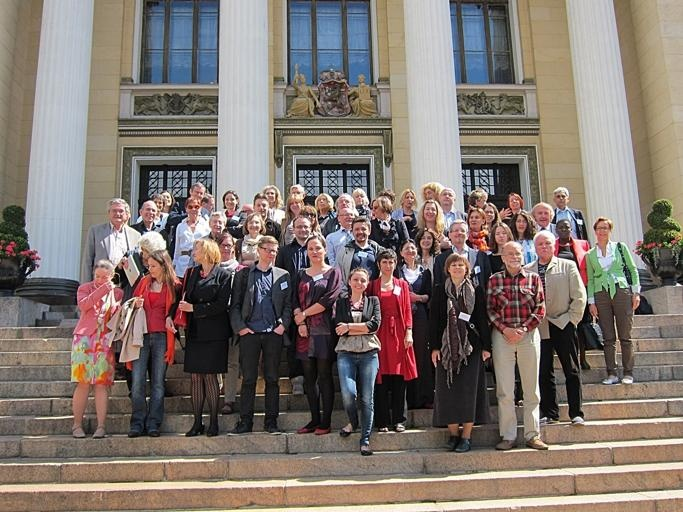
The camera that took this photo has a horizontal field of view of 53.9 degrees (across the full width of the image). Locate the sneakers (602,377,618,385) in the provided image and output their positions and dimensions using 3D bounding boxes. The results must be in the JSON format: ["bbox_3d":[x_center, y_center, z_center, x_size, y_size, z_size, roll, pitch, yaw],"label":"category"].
[{"bbox_3d":[4.252,1.952,10.585,0.266,0.102,0.098,-2,-11,-30],"label":"sneakers"}]

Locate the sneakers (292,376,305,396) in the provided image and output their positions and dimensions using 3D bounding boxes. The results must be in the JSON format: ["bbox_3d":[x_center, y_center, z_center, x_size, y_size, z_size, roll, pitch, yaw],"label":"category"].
[{"bbox_3d":[-0.698,1.937,10.248,0.151,0.290,0.313,4,-6,-40],"label":"sneakers"}]

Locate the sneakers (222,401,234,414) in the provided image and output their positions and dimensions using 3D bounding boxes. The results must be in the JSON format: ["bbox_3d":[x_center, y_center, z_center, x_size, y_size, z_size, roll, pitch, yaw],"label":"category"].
[{"bbox_3d":[-1.664,2.236,9.970,0.235,0.158,0.204,2,-5,-26],"label":"sneakers"}]

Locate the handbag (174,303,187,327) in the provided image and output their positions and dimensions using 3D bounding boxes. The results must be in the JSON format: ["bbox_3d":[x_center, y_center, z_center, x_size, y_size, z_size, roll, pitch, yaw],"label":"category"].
[{"bbox_3d":[-2.325,0.840,9.801,0.111,0.299,0.220,-7,-16,44],"label":"handbag"}]

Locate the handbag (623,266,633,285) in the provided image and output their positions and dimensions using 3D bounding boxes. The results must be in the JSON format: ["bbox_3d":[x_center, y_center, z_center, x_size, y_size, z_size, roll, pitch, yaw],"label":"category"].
[{"bbox_3d":[4.726,0.285,11.063,0.121,0.328,0.082,-7,-19,-19],"label":"handbag"}]

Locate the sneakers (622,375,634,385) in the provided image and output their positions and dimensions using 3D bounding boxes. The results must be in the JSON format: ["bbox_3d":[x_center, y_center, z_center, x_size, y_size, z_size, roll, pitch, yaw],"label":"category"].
[{"bbox_3d":[4.520,1.922,10.545,0.225,0.134,0.138,1,-5,-15],"label":"sneakers"}]

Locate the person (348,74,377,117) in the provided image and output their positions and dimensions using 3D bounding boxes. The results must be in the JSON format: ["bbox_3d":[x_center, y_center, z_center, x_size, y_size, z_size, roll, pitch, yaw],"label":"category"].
[{"bbox_3d":[0.599,-4.369,18.401,0.769,1.186,0.218,0,-5,0],"label":"person"}]

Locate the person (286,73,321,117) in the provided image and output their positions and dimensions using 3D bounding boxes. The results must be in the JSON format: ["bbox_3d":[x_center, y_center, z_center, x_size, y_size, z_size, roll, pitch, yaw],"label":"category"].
[{"bbox_3d":[-1.066,-4.375,18.366,1.097,1.853,0.546,-2,-18,-5],"label":"person"}]

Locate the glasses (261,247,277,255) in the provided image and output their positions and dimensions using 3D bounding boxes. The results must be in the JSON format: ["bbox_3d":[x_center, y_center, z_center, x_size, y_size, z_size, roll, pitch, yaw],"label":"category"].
[{"bbox_3d":[-1.044,-0.077,10.016,0.093,0.113,0.233,-4,-6,42],"label":"glasses"}]
